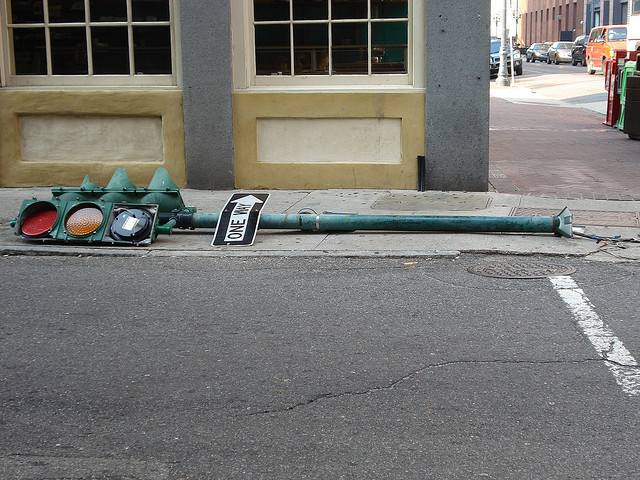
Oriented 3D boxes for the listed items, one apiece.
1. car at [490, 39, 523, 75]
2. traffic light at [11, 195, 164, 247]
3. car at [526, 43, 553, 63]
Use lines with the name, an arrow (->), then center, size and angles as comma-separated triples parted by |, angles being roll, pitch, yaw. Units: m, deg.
car -> 13.922, -14.440, 45.662 | 2.886, 2.490, 5.623 | -5, 26, 13
traffic light -> -2.976, -0.254, 7.533 | 2.092, 0.525, 0.356 | 3, 12, 15
car -> 26.721, -22.772, 71.558 | 2.542, 1.561, 5.302 | 0, 13, 4
